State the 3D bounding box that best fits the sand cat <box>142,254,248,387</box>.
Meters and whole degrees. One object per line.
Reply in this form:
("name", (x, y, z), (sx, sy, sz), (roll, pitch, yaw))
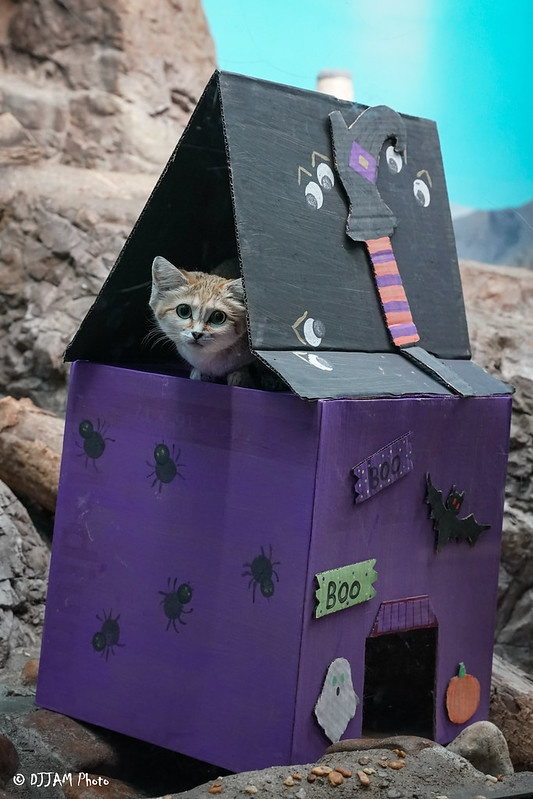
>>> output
("sand cat", (-0.176, -0.199, 2.301), (0.219, 0.316, 0.251), (-3, 9, -18))
